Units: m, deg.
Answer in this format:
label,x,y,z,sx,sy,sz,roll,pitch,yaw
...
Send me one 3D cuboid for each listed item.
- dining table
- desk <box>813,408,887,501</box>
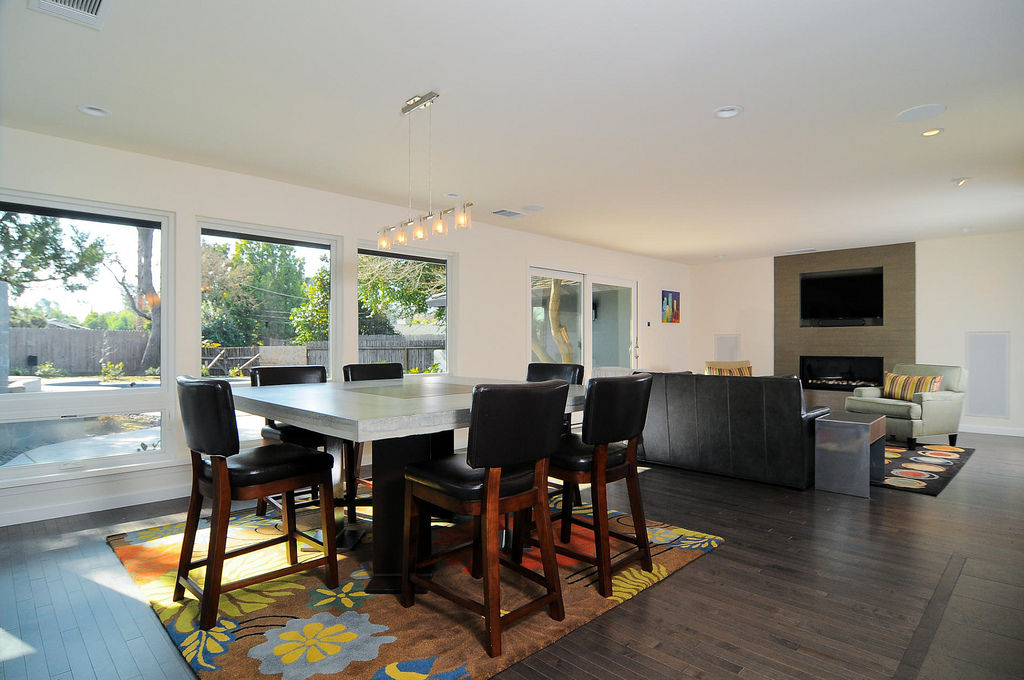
label,x,y,z,sx,sy,sz,roll,pitch,yaw
dining table,-0.977,0.790,4.438,1.805,1.213,1.817,0,1,41
desk,3.257,0.968,6.188,0.672,0.886,1.015,1,1,45
